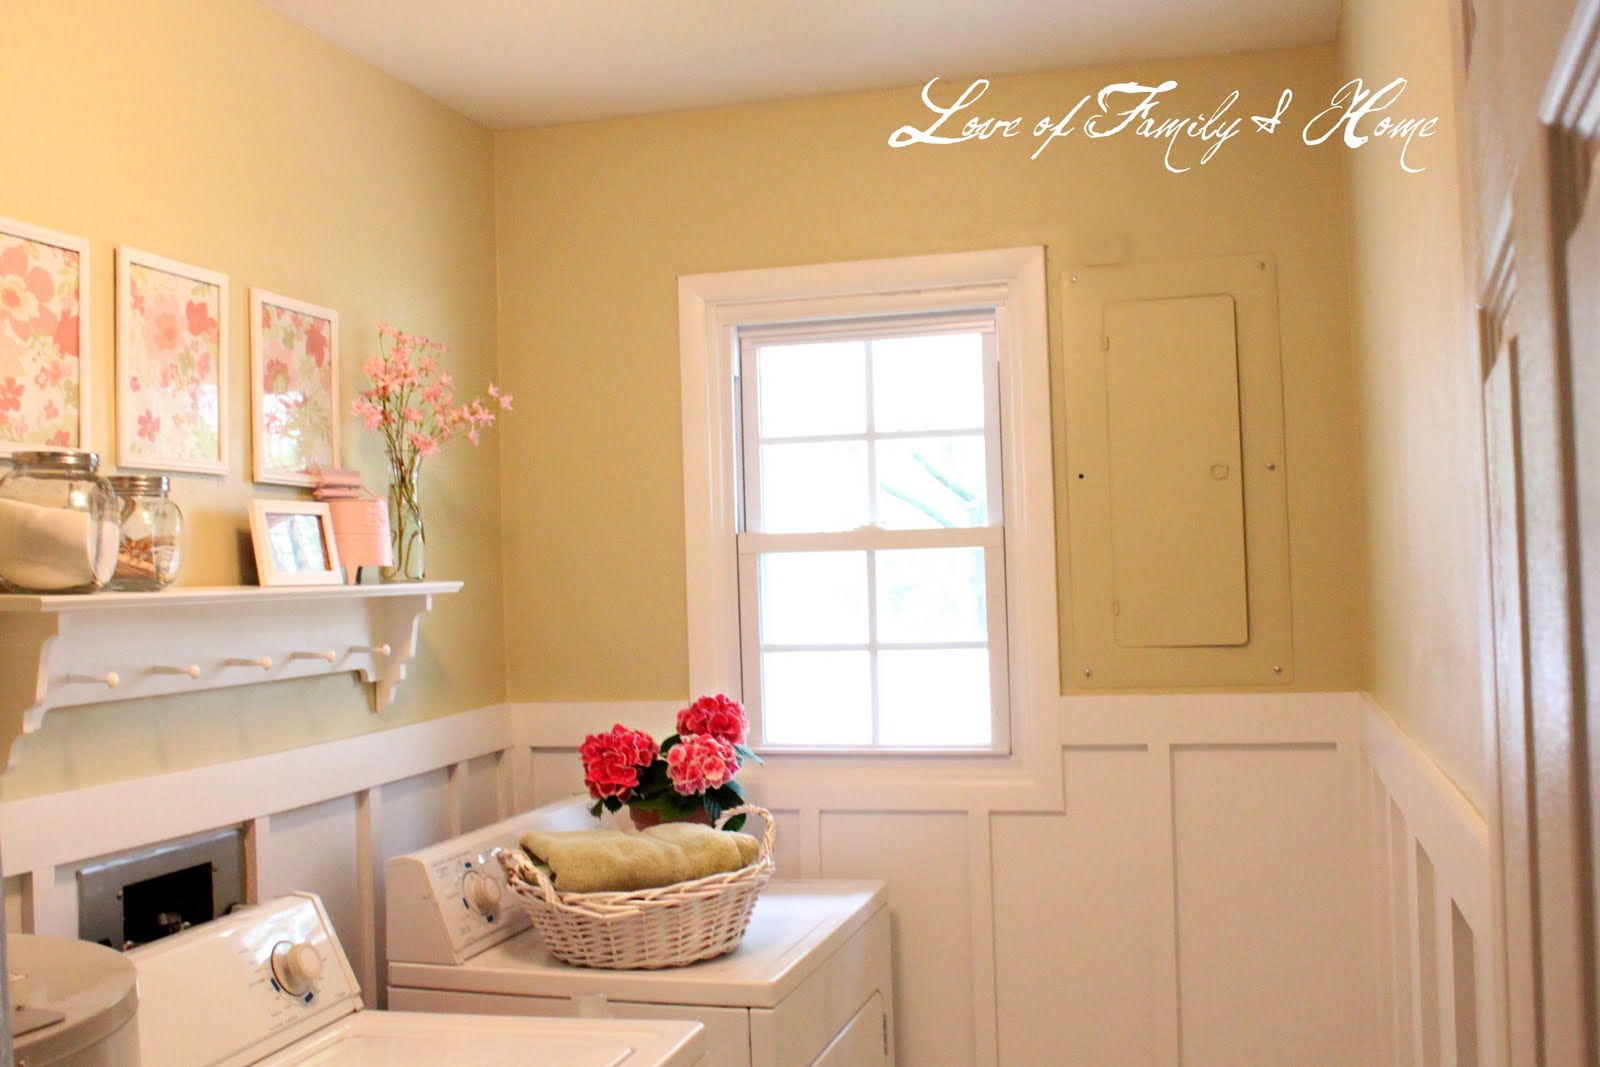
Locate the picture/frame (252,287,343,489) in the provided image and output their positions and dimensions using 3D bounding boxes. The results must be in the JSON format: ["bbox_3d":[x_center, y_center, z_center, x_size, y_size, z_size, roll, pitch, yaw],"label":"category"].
[{"bbox_3d":[-1.089,-0.307,2.559,0.041,0.404,0.242,-3,0,17],"label":"picture/frame"}]

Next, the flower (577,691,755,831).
[{"bbox_3d":[-0.301,0.488,2.694,0.321,0.222,0.326,-4,-5,44],"label":"flower"}]

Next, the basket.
[{"bbox_3d":[-0.275,0.677,2.340,0.384,0.179,0.306,4,-10,-37],"label":"basket"}]

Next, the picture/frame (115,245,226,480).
[{"bbox_3d":[-1.210,-0.326,2.283,0.017,0.419,0.248,-3,0,23],"label":"picture/frame"}]

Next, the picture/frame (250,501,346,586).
[{"bbox_3d":[-1.040,0.023,2.431,0.019,0.143,0.172,-20,-15,22],"label":"picture/frame"}]

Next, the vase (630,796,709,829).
[{"bbox_3d":[-0.297,0.636,2.700,0.103,0.069,0.097,-4,-7,35],"label":"vase"}]
